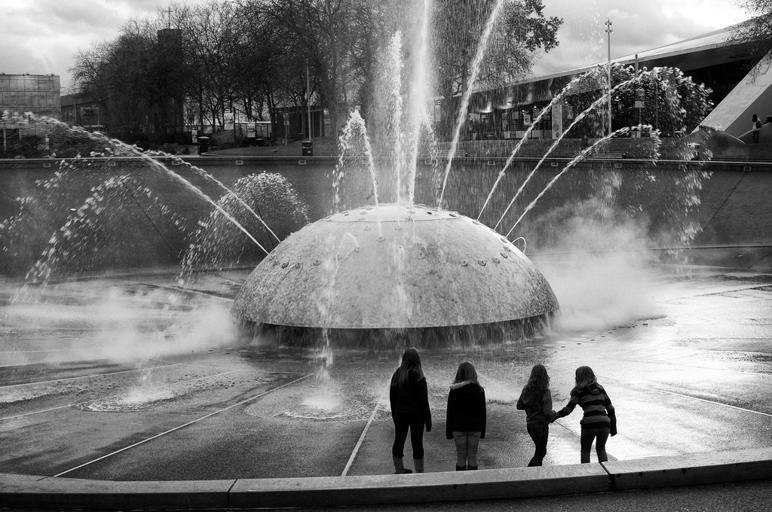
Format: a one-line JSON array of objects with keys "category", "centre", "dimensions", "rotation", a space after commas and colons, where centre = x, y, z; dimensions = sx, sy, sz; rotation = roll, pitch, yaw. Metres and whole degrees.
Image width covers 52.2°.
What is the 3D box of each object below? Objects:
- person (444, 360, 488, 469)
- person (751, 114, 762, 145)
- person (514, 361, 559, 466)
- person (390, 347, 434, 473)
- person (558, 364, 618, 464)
[{"category": "person", "centre": [0.946, 1.932, 9.363], "dimensions": [0.425, 1.167, 0.533], "rotation": [4, 12, 27]}, {"category": "person", "centre": [20.244, -6.880, 43.007], "dimensions": [0.545, 1.463, 3.379], "rotation": [4, 12, 25]}, {"category": "person", "centre": [1.797, 1.925, 9.425], "dimensions": [0.443, 1.159, 0.788], "rotation": [1, 11, 11]}, {"category": "person", "centre": [0.286, 1.879, 9.465], "dimensions": [0.466, 1.344, 0.653], "rotation": [-2, 11, 0]}, {"category": "person", "centre": [2.397, 1.928, 9.399], "dimensions": [0.657, 1.111, 0.618], "rotation": [0, 11, 8]}]
